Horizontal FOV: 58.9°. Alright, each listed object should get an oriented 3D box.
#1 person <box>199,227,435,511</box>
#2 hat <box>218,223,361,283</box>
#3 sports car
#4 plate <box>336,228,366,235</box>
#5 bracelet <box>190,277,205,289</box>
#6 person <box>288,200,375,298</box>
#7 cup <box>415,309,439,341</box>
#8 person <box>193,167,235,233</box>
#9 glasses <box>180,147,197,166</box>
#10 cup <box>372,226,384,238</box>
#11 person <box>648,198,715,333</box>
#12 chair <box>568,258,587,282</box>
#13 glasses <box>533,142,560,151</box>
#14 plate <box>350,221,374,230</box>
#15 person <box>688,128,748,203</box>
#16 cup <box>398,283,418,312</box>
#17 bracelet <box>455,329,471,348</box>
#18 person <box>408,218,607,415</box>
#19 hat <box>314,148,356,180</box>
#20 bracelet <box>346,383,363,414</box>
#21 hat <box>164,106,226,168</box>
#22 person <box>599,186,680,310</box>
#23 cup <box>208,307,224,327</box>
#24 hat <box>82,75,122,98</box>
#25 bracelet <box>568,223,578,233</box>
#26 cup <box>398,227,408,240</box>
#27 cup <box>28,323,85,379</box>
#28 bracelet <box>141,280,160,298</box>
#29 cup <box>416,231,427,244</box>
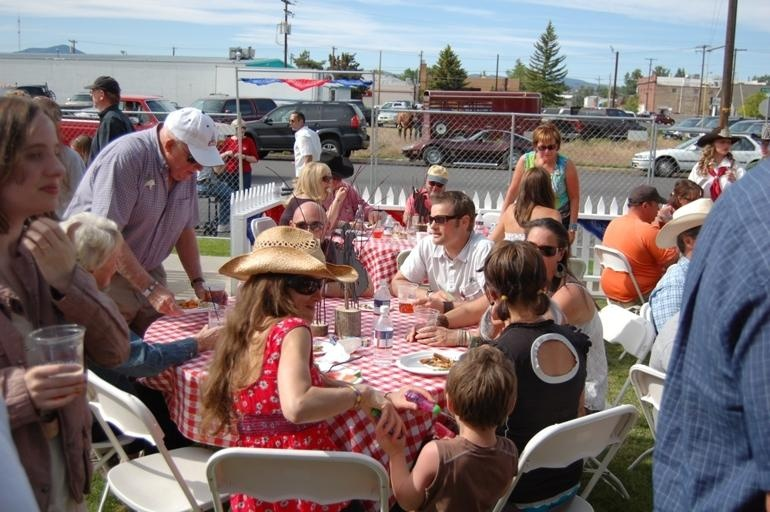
[{"bbox_3d":[-0.411,0.363,3.504,1.175,1.605,0.925,-8,15,-30],"label":"person"},{"bbox_3d":[-0.456,0.002,3.080,0.381,0.172,0.338,4,-3,-1],"label":"hat"},{"bbox_3d":[2.038,-2.801,17.740,2.798,1.028,1.654,5,11,11],"label":"sports car"},{"bbox_3d":[-0.265,-0.193,5.215,0.144,0.045,0.157,1,1,12],"label":"plate"},{"bbox_3d":[-1.304,0.179,4.710,0.092,0.071,0.108,-10,7,8],"label":"bracelet"},{"bbox_3d":[-0.578,-0.269,6.644,0.636,1.312,0.493,-12,-1,12],"label":"person"},{"bbox_3d":[0.243,0.398,4.009,0.137,0.163,0.151,2,-2,-1],"label":"cup"},{"bbox_3d":[-2.722,-0.845,10.655,0.611,0.998,0.616,-4,-6,-32],"label":"person"},{"bbox_3d":[-1.277,-0.653,4.480,0.022,0.074,0.070,-45,-14,34],"label":"glasses"},{"bbox_3d":[-0.065,-0.258,7.053,0.106,0.123,0.209,0,4,2],"label":"cup"},{"bbox_3d":[1.998,0.077,4.643,0.345,0.877,0.963,5,11,24],"label":"person"},{"bbox_3d":[1.616,0.108,5.735,0.163,0.299,0.203,1,38,15],"label":"chair"},{"bbox_3d":[1.654,-1.118,6.961,0.249,0.118,0.219,4,11,12],"label":"glasses"},{"bbox_3d":[-0.219,-0.296,6.516,0.169,0.047,0.180,6,11,28],"label":"plate"},{"bbox_3d":[4.084,-0.854,8.473,0.654,1.464,0.549,5,5,33],"label":"person"},{"bbox_3d":[0.151,0.268,4.486,0.145,0.162,0.124,-10,17,-36],"label":"cup"},{"bbox_3d":[0.443,0.467,3.875,0.068,0.066,0.086,4,-6,-22],"label":"bracelet"},{"bbox_3d":[0.734,0.311,4.238,1.165,1.335,0.923,3,-1,-4],"label":"person"},{"bbox_3d":[-0.544,-1.079,7.920,0.552,0.243,0.594,9,20,8],"label":"hat"},{"bbox_3d":[-0.123,0.612,2.953,0.029,0.114,0.106,-2,-2,-26],"label":"bracelet"},{"bbox_3d":[-1.254,-0.772,4.448,0.358,0.371,0.235,-3,11,-20],"label":"hat"},{"bbox_3d":[2.484,0.034,6.636,0.731,1.500,0.664,-12,19,-16],"label":"person"},{"bbox_3d":[-0.976,0.342,3.917,0.086,0.157,0.092,3,3,0],"label":"cup"},{"bbox_3d":[-2.843,-1.701,6.839,0.356,0.221,0.275,3,15,-15],"label":"hat"},{"bbox_3d":[1.905,-0.298,6.920,0.072,0.097,0.102,1,2,9],"label":"bracelet"},{"bbox_3d":[0.196,-0.242,7.056,0.113,0.089,0.083,-11,17,-40],"label":"cup"},{"bbox_3d":[-1.167,0.334,2.485,0.162,0.181,0.153,3,9,0],"label":"cup"},{"bbox_3d":[-1.486,0.210,4.384,0.090,0.097,0.104,-18,25,45],"label":"bracelet"},{"bbox_3d":[0.355,-0.202,6.703,0.128,0.124,0.119,-1,16,0],"label":"cup"}]
